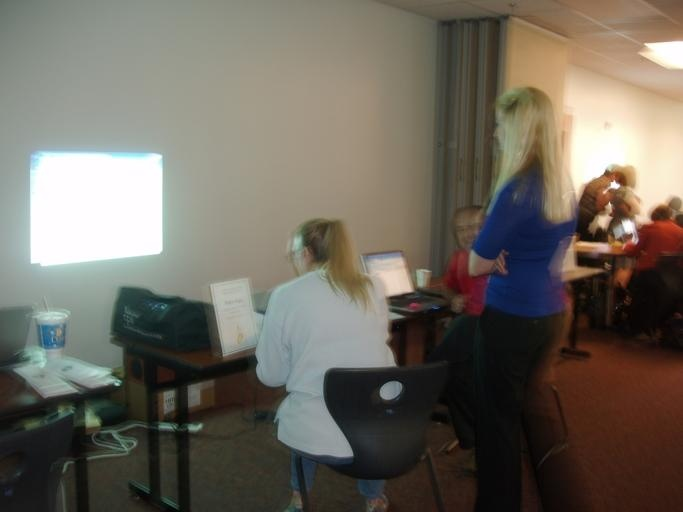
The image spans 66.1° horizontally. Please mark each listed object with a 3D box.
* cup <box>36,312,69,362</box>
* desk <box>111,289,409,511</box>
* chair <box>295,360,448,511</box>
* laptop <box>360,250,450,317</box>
[{"bbox_3d":[-1.416,0.373,2.560,0.144,0.222,0.199,-6,9,-31],"label":"cup"},{"bbox_3d":[-0.598,0.543,3.175,0.934,1.444,1.725,5,7,38],"label":"desk"},{"bbox_3d":[0.032,0.660,2.378,0.478,0.878,0.577,-3,14,-12],"label":"chair"},{"bbox_3d":[0.416,0.164,3.571,0.306,0.483,0.407,-13,-4,35],"label":"laptop"}]
